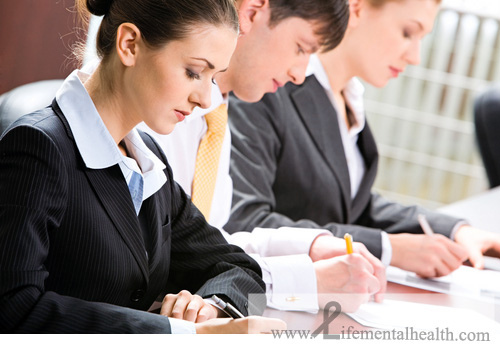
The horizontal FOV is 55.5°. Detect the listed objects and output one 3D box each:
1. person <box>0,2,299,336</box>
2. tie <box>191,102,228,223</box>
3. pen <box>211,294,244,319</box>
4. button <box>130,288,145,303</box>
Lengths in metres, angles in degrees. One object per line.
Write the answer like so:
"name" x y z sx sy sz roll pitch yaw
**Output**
"person" -0.222 -0.023 1.393 0.692 1.145 0.661 1 0 8
"tie" -0.132 -0.053 1.545 0.074 0.451 0.047 10 -8 -16
"pen" -0.054 0.300 1.076 0.010 0.061 0.010 -45 -4 -11
"button" -0.256 0.279 1.092 0.007 0.028 0.027 29 18 29
